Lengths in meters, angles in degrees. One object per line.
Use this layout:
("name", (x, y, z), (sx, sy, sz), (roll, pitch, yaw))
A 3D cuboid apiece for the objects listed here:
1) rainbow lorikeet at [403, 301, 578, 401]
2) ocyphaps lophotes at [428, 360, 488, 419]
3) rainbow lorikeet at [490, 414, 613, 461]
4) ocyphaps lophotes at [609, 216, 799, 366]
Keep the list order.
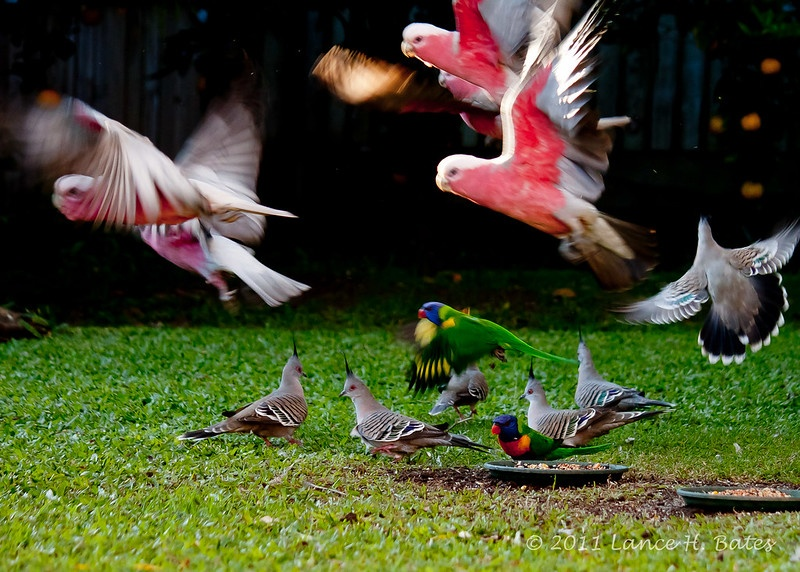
("rainbow lorikeet", (0.669, 0.462, 11.372), (1.711, 0.839, 0.700), (-18, 13, 33))
("ocyphaps lophotes", (0.621, 1.093, 12.230), (0.750, 0.574, 0.353), (-4, 1, -44))
("rainbow lorikeet", (1.339, 1.487, 11.153), (1.387, 0.469, 0.840), (-2, 3, -12))
("ocyphaps lophotes", (3.174, 0.094, 11.589), (1.189, 1.768, 2.128), (3, 7, 35))
